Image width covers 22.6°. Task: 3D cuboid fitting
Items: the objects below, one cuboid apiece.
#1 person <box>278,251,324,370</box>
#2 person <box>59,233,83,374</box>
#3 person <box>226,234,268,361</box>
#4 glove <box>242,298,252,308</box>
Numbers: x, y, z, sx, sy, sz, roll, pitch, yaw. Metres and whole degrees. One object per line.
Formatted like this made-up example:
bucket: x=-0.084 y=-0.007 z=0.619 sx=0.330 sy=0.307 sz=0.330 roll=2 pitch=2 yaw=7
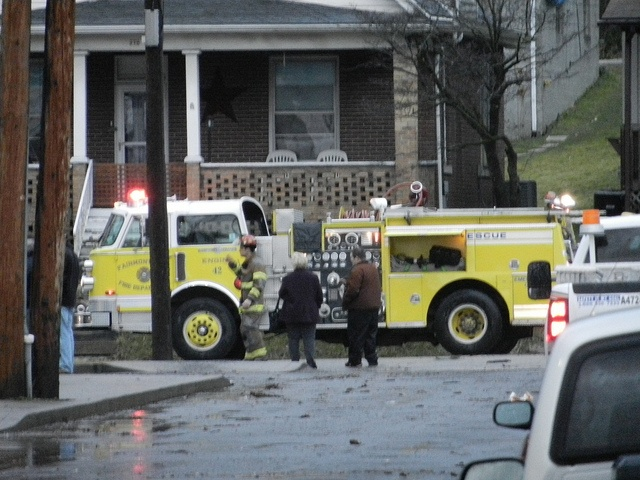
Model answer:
person: x=-0.351 y=1.278 z=28.392 sx=0.577 sy=2.149 sz=0.805 roll=0 pitch=0 yaw=1
person: x=-4.370 y=1.177 z=27.620 sx=0.433 sy=2.252 sz=0.434 roll=-2 pitch=5 yaw=-26
person: x=-1.323 y=1.100 z=29.306 sx=0.659 sy=2.281 sz=0.568 roll=0 pitch=1 yaw=30
glove: x=-1.353 y=1.192 z=29.103 sx=0.144 sy=0.166 sz=0.120 roll=3 pitch=-10 yaw=-35
